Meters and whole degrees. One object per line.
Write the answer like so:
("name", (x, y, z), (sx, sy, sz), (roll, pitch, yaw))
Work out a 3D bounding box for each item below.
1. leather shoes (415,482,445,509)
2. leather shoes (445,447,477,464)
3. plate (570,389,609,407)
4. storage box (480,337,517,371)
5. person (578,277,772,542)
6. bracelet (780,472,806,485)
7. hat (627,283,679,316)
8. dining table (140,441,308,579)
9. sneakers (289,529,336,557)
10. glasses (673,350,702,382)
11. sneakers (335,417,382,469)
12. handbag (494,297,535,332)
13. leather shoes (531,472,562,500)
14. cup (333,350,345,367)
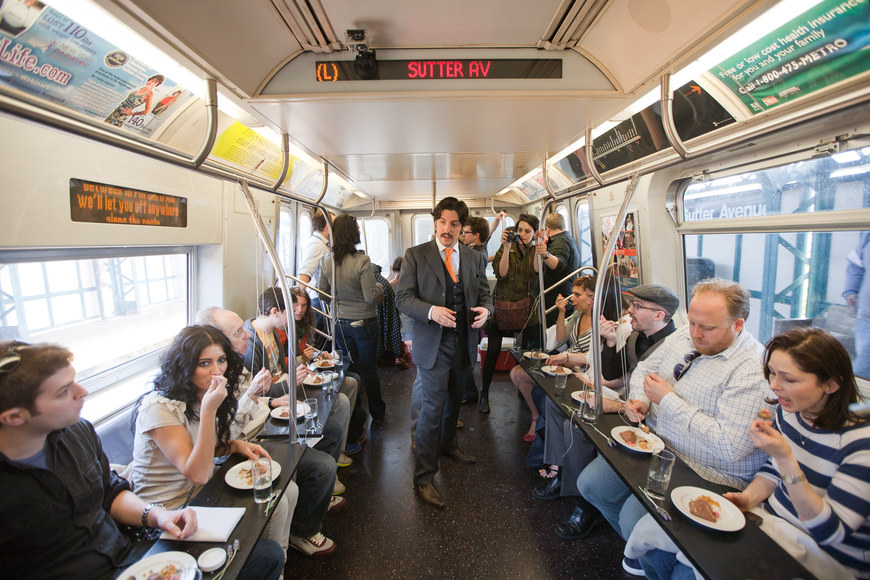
("leather shoes", (0.010, 1.691, 4.271), (0.118, 0.214, 0.322), (4, -14, -40))
("leather shoes", (0.227, 1.552, 4.857), (0.321, 0.139, 0.115), (-4, -1, 35))
("plate", (1.121, 0.800, 3.821), (0.160, 0.027, 0.157), (-6, 6, -41))
("storage box", (0.857, 0.938, 7.191), (0.549, 0.343, 0.557), (-1, -8, 2))
("person", (1.652, 0.924, 3.561), (1.108, 1.898, 0.941), (-12, 15, -22))
("bracelet", (1.883, 1.005, 2.768), (0.097, 0.060, 0.090), (10, -21, -22))
("hat", (1.634, 0.054, 3.946), (0.292, 0.108, 0.218), (25, 1, 10))
("dining table", (-1.099, 1.295, 3.097), (0.420, 0.420, 0.822), (1, 29, -7))
("sneakers", (-0.887, 1.880, 3.820), (0.371, 0.163, 0.142), (0, 5, 15))
("glasses", (1.670, 0.510, 3.505), (0.048, 0.203, 0.124), (35, 15, -4))
("sneakers", (-0.761, 1.553, 5.129), (0.151, 0.199, 0.462), (13, 13, 16))
("handbag", (0.871, 0.266, 5.710), (0.338, 0.488, 0.203), (-1, -13, 10))
("leather shoes", (0.903, 1.657, 4.359), (0.280, 0.115, 0.134), (-1, 0, -20))
("cup", (-0.893, 0.645, 4.845), (0.108, 0.175, 0.110), (-3, -2, 0))
